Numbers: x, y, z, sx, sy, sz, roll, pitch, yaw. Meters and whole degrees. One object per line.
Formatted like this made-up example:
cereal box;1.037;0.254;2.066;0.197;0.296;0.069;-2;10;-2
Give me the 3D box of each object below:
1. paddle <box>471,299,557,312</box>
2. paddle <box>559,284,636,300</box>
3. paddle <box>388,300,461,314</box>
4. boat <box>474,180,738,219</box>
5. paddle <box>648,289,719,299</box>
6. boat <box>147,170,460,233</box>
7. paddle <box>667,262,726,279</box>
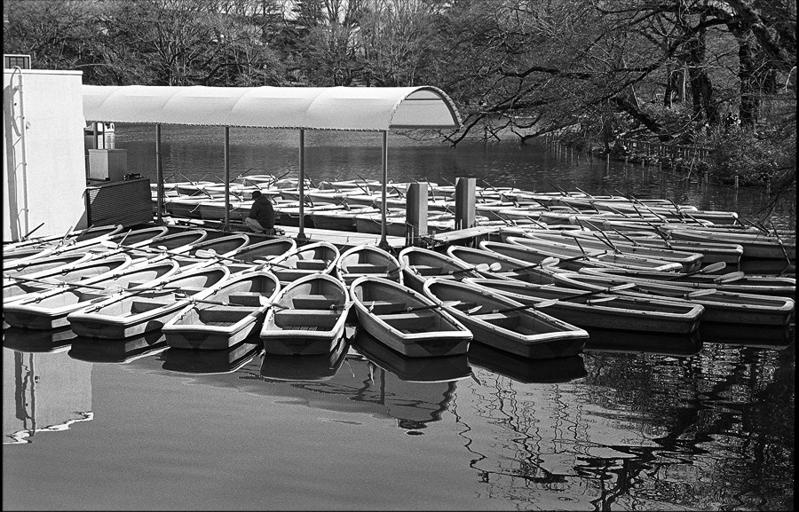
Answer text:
paddle;2.720;1.106;17.185;1.211;0.295;0.492;3;6;6
paddle;4.464;0.838;17.993;1.868;0.323;0.613;-1;7;-28
paddle;0.472;1.134;17.396;2.045;0.275;0.294;-4;-22;42
boat;7.273;-1.838;28.642;8.711;0.742;3.952;6;7;32
paddle;6.415;0.854;18.135;1.677;0.213;0.506;3;6;13
boat;-3.527;-1.829;27.497;10.421;1.396;2.328;7;20;24
paddle;7.291;0.364;19.881;2.550;0.259;0.252;-5;1;-41
